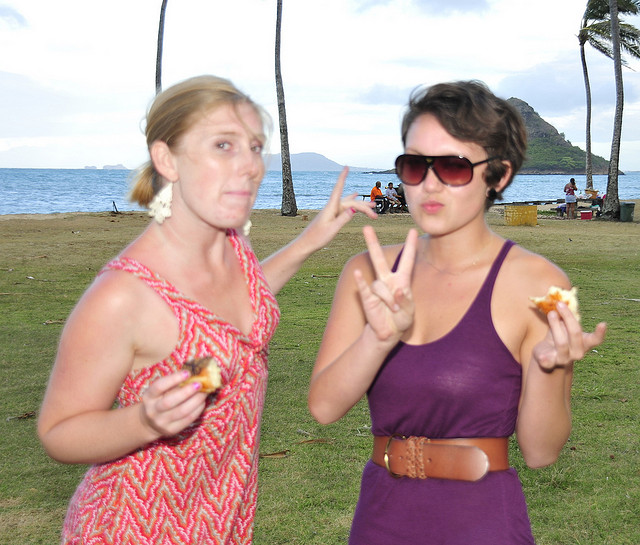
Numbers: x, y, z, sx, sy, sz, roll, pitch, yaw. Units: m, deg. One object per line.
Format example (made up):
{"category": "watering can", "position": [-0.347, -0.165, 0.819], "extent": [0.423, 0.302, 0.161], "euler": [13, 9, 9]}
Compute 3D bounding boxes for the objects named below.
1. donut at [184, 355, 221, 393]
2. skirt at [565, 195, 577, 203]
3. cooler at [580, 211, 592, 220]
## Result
{"category": "donut", "position": [-0.352, 0.305, 1.731], "extent": [0.047, 0.106, 0.107], "euler": [11, -11, -43]}
{"category": "skirt", "position": [11.156, -3.270, 25.301], "extent": [0.479, 0.331, 0.336], "euler": [5, 10, 18]}
{"category": "cooler", "position": [11.742, -2.555, 25.064], "extent": [0.398, 0.284, 0.390], "euler": [0, 1, 3]}
